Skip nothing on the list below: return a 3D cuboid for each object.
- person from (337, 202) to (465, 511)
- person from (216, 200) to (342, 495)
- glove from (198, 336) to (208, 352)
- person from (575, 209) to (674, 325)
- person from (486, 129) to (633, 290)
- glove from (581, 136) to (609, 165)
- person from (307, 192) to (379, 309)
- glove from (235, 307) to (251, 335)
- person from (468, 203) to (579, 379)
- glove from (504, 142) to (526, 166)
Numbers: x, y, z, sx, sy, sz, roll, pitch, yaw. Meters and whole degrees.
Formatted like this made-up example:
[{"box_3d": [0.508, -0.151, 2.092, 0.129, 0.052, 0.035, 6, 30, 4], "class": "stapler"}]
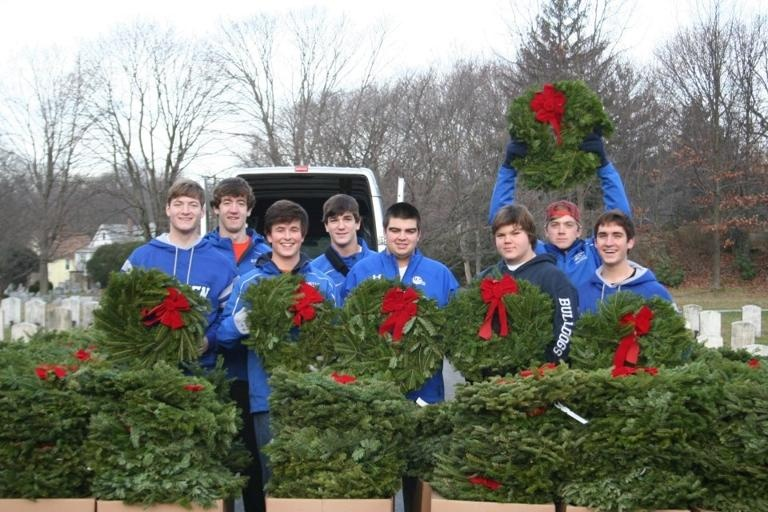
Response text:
[{"box_3d": [0.205, 0.986, 7.612, 1.074, 3.062, 0.917, -2, -7, 4], "class": "person"}, {"box_3d": [-1.042, 0.811, 7.562, 1.131, 2.753, 0.681, 0, -7, -13], "class": "person"}, {"box_3d": [-1.693, 0.826, 7.327, 0.105, 0.117, 0.129, 13, 8, -5], "class": "glove"}, {"box_3d": [2.343, 0.245, 7.855, 1.347, 1.347, 0.606, -2, -9, 36], "class": "person"}, {"box_3d": [1.844, -0.654, 8.406, 1.412, 1.605, 0.711, 0, 26, 9], "class": "person"}, {"box_3d": [2.077, -1.030, 7.664, 0.156, 0.293, 0.441, -6, -8, 33], "class": "glove"}, {"box_3d": [-0.398, -0.067, 8.669, 1.158, 1.124, 0.551, -4, -2, 11], "class": "person"}, {"box_3d": [-1.322, 0.624, 7.306, 0.175, 0.217, 0.068, -10, -4, 35], "class": "glove"}, {"box_3d": [1.402, 0.250, 7.297, 0.758, 1.468, 0.435, -4, -7, 22], "class": "person"}, {"box_3d": [1.275, -1.028, 7.794, 0.147, 0.244, 0.334, 1, -7, -20], "class": "glove"}]
